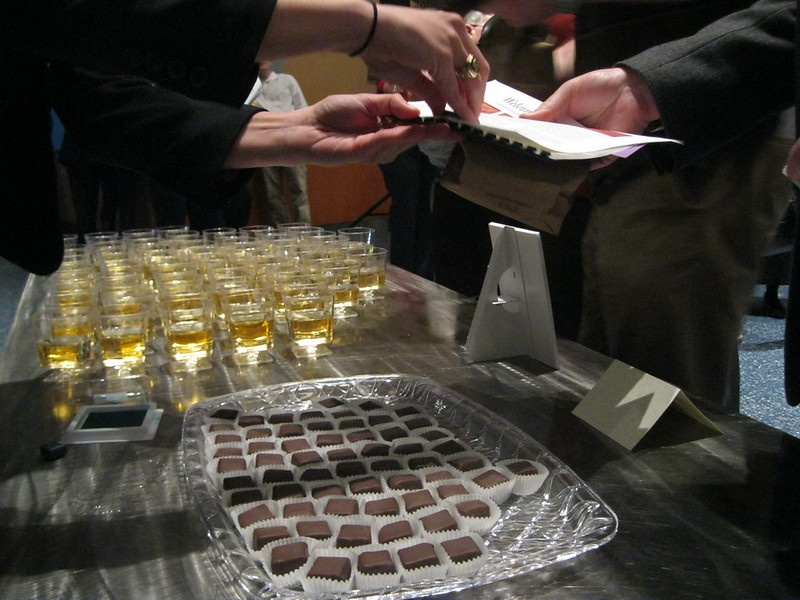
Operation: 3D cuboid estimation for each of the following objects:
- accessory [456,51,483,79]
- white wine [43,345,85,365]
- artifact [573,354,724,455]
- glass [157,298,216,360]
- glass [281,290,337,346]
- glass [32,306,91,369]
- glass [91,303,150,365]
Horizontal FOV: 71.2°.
[{"bbox_3d":[0.169,-0.556,1.327,0.053,0.054,0.058,-19,28,-32],"label":"accessory"},{"bbox_3d":[-0.859,0.138,1.422,0.082,0.039,0.054,-4,11,-25],"label":"white wine"},{"bbox_3d":[0.535,0.204,1.182,0.277,0.108,0.276,-10,7,-6],"label":"artifact"},{"bbox_3d":[-0.570,0.092,1.517,0.162,0.132,0.157,-4,2,35],"label":"glass"},{"bbox_3d":[-0.247,0.059,1.634,0.186,0.150,0.164,-3,-7,-26],"label":"glass"},{"bbox_3d":[-0.880,0.110,1.537,0.155,0.149,0.178,-2,-7,2],"label":"glass"},{"bbox_3d":[-0.733,0.108,1.509,0.173,0.151,0.162,-8,-10,9],"label":"glass"}]
